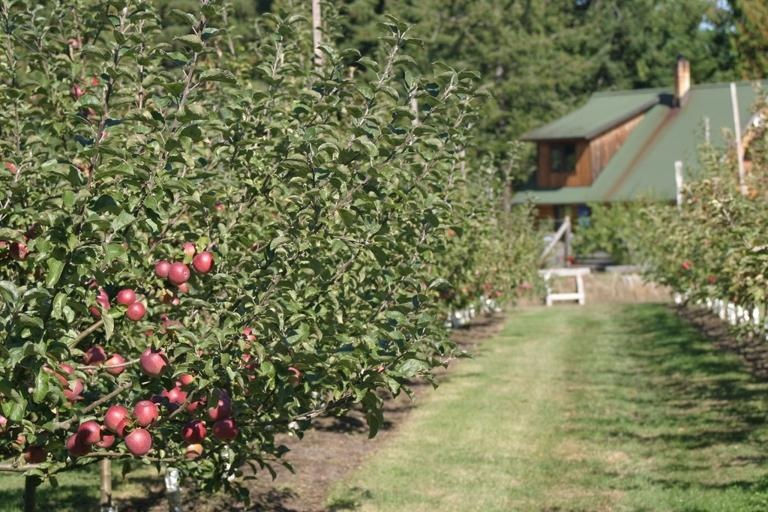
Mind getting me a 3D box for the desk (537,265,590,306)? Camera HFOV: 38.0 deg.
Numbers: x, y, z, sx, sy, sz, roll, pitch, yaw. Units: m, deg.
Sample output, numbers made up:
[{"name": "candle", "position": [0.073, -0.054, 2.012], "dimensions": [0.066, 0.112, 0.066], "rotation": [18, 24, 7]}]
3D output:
[{"name": "desk", "position": [4.005, 0.541, 24.868], "dimensions": [0.929, 0.705, 0.474], "rotation": [7, 10, -19]}]
